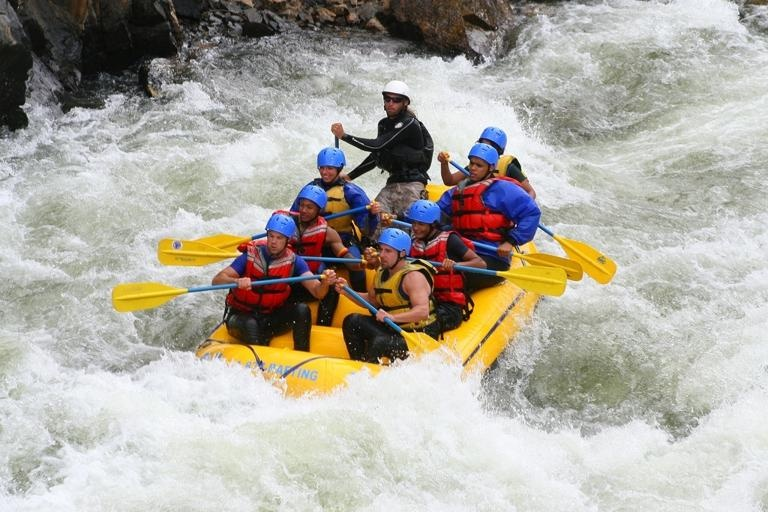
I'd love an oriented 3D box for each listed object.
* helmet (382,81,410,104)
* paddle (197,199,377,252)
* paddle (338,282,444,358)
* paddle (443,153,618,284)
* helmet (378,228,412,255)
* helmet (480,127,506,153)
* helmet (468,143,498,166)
[{"bbox_3d":[0.169,-2.050,10.367,0.268,0.261,0.351,11,15,3],"label":"helmet"},{"bbox_3d":[-1.154,-0.346,10.212,0.395,2.240,0.175,11,74,-44],"label":"paddle"},{"bbox_3d":[0.062,0.729,9.143,1.279,0.388,0.063,36,38,3],"label":"paddle"},{"bbox_3d":[1.897,-0.425,10.747,3.046,0.130,0.543,36,86,9],"label":"paddle"},{"bbox_3d":[0.131,-0.179,9.192,0.248,0.346,0.253,13,17,34],"label":"helmet"},{"bbox_3d":[1.397,-1.481,10.486,0.290,0.330,0.308,17,61,14],"label":"helmet"},{"bbox_3d":[1.222,-1.205,10.117,0.235,0.337,0.247,20,32,18],"label":"helmet"}]
